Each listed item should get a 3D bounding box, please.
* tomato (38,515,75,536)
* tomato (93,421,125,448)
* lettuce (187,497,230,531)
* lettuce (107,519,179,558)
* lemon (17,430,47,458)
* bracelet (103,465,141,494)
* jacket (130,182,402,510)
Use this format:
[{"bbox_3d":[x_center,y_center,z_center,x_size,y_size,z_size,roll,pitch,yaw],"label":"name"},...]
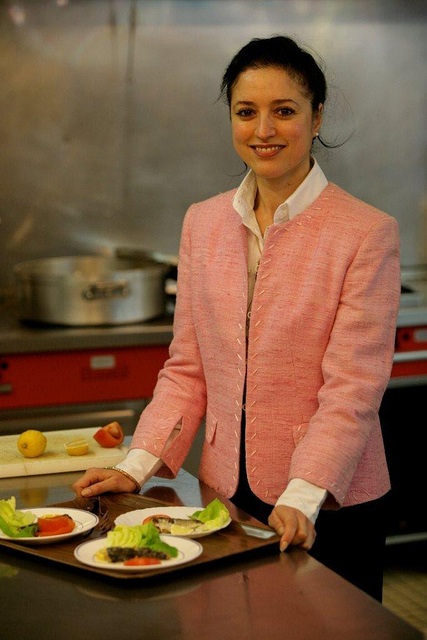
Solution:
[{"bbox_3d":[-0.211,0.277,0.846,0.047,0.016,0.052,-2,4,-18],"label":"tomato"},{"bbox_3d":[-0.225,0.252,1.383,0.055,0.030,0.053,-24,18,-23],"label":"tomato"},{"bbox_3d":[-0.009,0.270,0.867,0.038,0.038,0.014,22,-11,39],"label":"lettuce"},{"bbox_3d":[-0.093,0.249,0.750,0.058,0.019,0.054,9,8,31],"label":"lettuce"},{"bbox_3d":[-0.364,0.245,1.276,0.055,0.050,0.061,12,9,16],"label":"lemon"},{"bbox_3d":[-0.160,0.286,1.109,0.064,0.051,0.043,-1,5,-10],"label":"bracelet"},{"bbox_3d":[0.087,0.045,1.176,0.465,0.609,0.319,3,6,34],"label":"jacket"}]
